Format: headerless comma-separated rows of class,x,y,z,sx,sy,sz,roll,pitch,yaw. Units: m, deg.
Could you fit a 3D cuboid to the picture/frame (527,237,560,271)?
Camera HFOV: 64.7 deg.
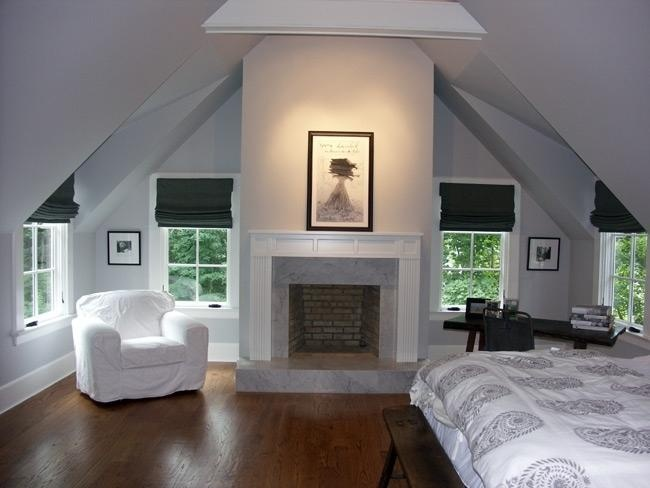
picture/frame,2.924,0.117,6.870,0.429,0.482,0.033,1,1,-3

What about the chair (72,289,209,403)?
chair,-2.081,1.060,5.645,1.223,1.015,1.313,2,0,40

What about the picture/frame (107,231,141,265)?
picture/frame,-2.693,0.045,6.742,0.430,0.498,0.023,0,0,-7

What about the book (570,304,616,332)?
book,2.844,0.755,5.472,0.297,0.200,0.316,0,-2,28
